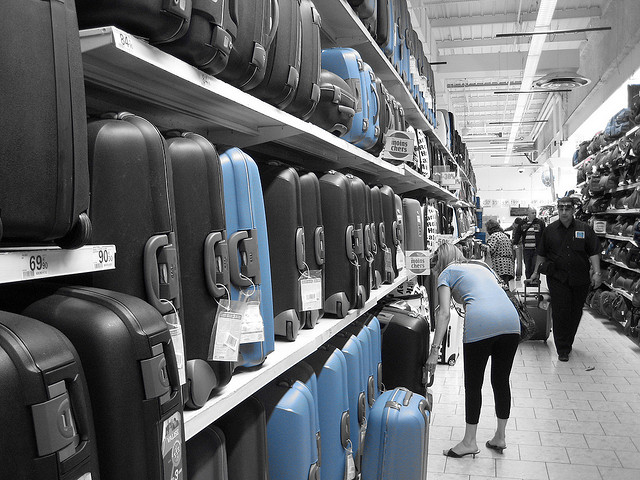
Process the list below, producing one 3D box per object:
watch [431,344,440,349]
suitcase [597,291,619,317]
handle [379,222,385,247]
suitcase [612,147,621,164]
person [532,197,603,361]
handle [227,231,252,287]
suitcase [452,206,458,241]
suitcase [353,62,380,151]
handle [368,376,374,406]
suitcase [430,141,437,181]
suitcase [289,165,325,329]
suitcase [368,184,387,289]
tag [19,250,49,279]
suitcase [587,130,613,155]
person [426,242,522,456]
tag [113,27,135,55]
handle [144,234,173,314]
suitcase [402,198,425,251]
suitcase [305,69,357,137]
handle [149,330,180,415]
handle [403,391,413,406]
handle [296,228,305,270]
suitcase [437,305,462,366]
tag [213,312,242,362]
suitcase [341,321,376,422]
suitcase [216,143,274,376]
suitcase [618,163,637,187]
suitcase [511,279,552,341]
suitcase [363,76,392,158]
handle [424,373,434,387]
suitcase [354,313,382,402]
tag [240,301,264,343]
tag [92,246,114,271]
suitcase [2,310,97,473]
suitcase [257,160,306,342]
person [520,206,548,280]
[{"bbox_3d":[0.902,0.825,3.415,0.031,0.013,0.043,12,-17,43],"label":"watch"},{"bbox_3d":[5.123,1.115,7.840,0.174,0.464,0.899,1,3,24],"label":"suitcase"},{"bbox_3d":[0.406,-0.031,2.877,0.014,0.157,0.072,2,3,30],"label":"handle"},{"bbox_3d":[5.000,-1.435,7.430,0.070,0.288,0.493,2,3,29],"label":"suitcase"},{"bbox_3d":[3.436,0.525,6.063,0.783,2.160,0.397,0,3,-6],"label":"person"},{"bbox_3d":[-0.233,0.070,1.332,0.045,0.151,0.024,6,30,7],"label":"handle"},{"bbox_3d":[2.420,-0.298,7.855,0.095,0.471,1.129,1,3,17],"label":"suitcase"},{"bbox_3d":[0.320,-0.807,2.704,0.147,0.476,0.240,4,9,8],"label":"suitcase"},{"bbox_3d":[0.304,0.897,2.618,0.026,0.232,0.150,0,-2,15],"label":"handle"},{"bbox_3d":[1.578,-1.072,6.117,0.084,0.487,0.389,1,3,15],"label":"suitcase"},{"bbox_3d":[-0.035,0.000,1.956,0.091,0.630,0.213,4,8,14],"label":"suitcase"},{"bbox_3d":[0.382,0.001,2.847,0.106,0.592,0.193,4,9,13],"label":"suitcase"},{"bbox_3d":[-0.490,0.042,0.755,0.014,0.046,0.045,-2,-3,18],"label":"tag"},{"bbox_3d":[5.944,-2.071,9.473,0.334,0.500,1.103,-2,26,25],"label":"suitcase"},{"bbox_3d":[1.209,0.972,3.567,0.747,1.529,0.407,0,3,-7],"label":"person"},{"bbox_3d":[-0.418,-0.422,0.942,0.008,0.040,0.056,1,3,14],"label":"tag"},{"bbox_3d":[-0.374,0.084,1.028,0.027,0.186,0.059,5,10,34],"label":"handle"},{"bbox_3d":[0.859,-0.129,4.052,0.154,0.550,0.326,-3,19,14],"label":"suitcase"},{"bbox_3d":[0.081,-0.647,2.169,0.190,0.322,0.287,5,9,15],"label":"suitcase"},{"bbox_3d":[-0.312,0.251,0.867,0.033,0.164,0.107,-3,-5,12],"label":"handle"},{"bbox_3d":[0.511,0.922,2.567,0.024,0.029,0.112,-2,22,21],"label":"handle"},{"bbox_3d":[-0.075,0.037,1.779,0.019,0.168,0.058,2,3,28],"label":"handle"},{"bbox_3d":[1.692,1.273,5.794,0.402,0.663,0.397,-4,-15,45],"label":"suitcase"},{"bbox_3d":[-0.259,0.272,1.258,0.072,0.145,0.013,7,3,-19],"label":"tag"},{"bbox_3d":[0.261,0.782,2.625,0.141,0.506,0.271,4,9,12],"label":"suitcase"},{"bbox_3d":[-0.221,0.051,1.397,0.119,0.677,0.260,3,7,9],"label":"suitcase"},{"bbox_3d":[4.953,-1.033,7.203,0.176,0.304,0.293,7,33,9],"label":"suitcase"},{"bbox_3d":[3.317,1.012,6.863,0.578,1.077,0.610,-4,8,20],"label":"suitcase"},{"bbox_3d":[0.382,-0.855,3.073,0.229,0.520,0.307,2,6,17],"label":"suitcase"},{"bbox_3d":[0.815,1.045,3.286,0.021,0.086,0.079,4,4,32],"label":"handle"},{"bbox_3d":[0.351,0.740,2.820,0.136,0.490,0.245,4,9,11],"label":"suitcase"},{"bbox_3d":[-0.217,0.219,1.378,0.094,0.176,0.088,-1,26,-15],"label":"tag"},{"bbox_3d":[-0.438,0.036,0.888,0.015,0.045,0.045,0,0,19],"label":"tag"},{"bbox_3d":[-0.421,0.255,0.696,0.121,0.266,0.099,-2,3,-33],"label":"suitcase"},{"bbox_3d":[-0.141,0.043,1.767,0.117,0.654,0.258,5,7,16],"label":"suitcase"},{"bbox_3d":[4.581,0.156,9.469,0.663,1.765,0.531,2,23,35],"label":"person"}]
